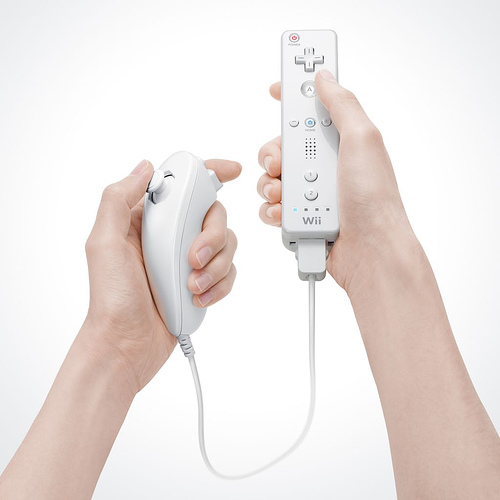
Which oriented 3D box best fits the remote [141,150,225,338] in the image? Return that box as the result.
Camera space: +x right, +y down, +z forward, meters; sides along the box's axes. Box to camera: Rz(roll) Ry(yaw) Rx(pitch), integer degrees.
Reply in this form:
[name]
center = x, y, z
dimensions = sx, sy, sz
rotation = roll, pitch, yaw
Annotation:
[remote]
center = -0.138, -0.033, 1.079
dimensions = 0.097, 0.511, 0.150
rotation = 2, -1, -33
